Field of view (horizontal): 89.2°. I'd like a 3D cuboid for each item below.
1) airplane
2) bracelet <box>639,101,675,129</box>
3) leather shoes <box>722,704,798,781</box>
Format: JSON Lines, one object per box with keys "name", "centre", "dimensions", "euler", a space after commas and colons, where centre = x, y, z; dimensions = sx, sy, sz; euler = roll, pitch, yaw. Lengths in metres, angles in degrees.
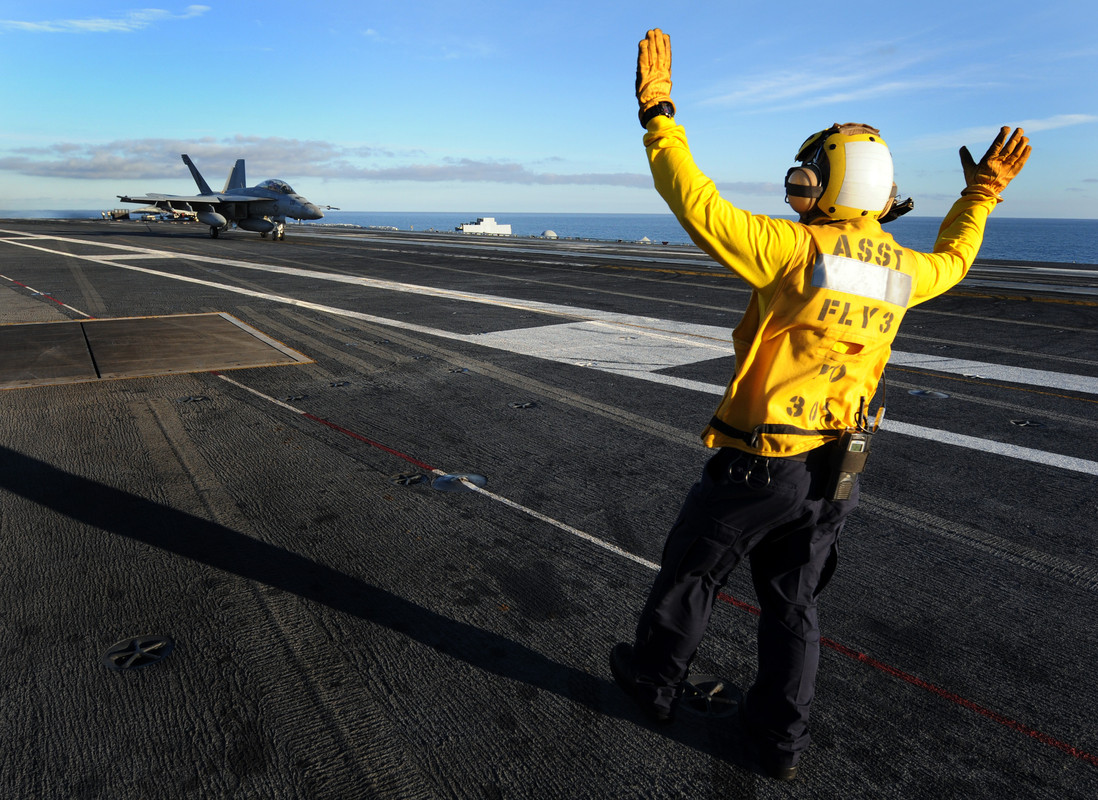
{"name": "airplane", "centre": [-19.628, -13.480, 36.751], "dimensions": [13.543, 4.214, 14.101], "euler": [23, 24, 39]}
{"name": "bracelet", "centre": [0.424, -1.118, 2.178], "dimensions": [0.121, 0.102, 0.088], "euler": [2, 26, 1]}
{"name": "leather shoes", "centre": [0.940, 1.533, 2.531], "dimensions": [0.176, 0.137, 0.396], "euler": [0, 0, -5]}
